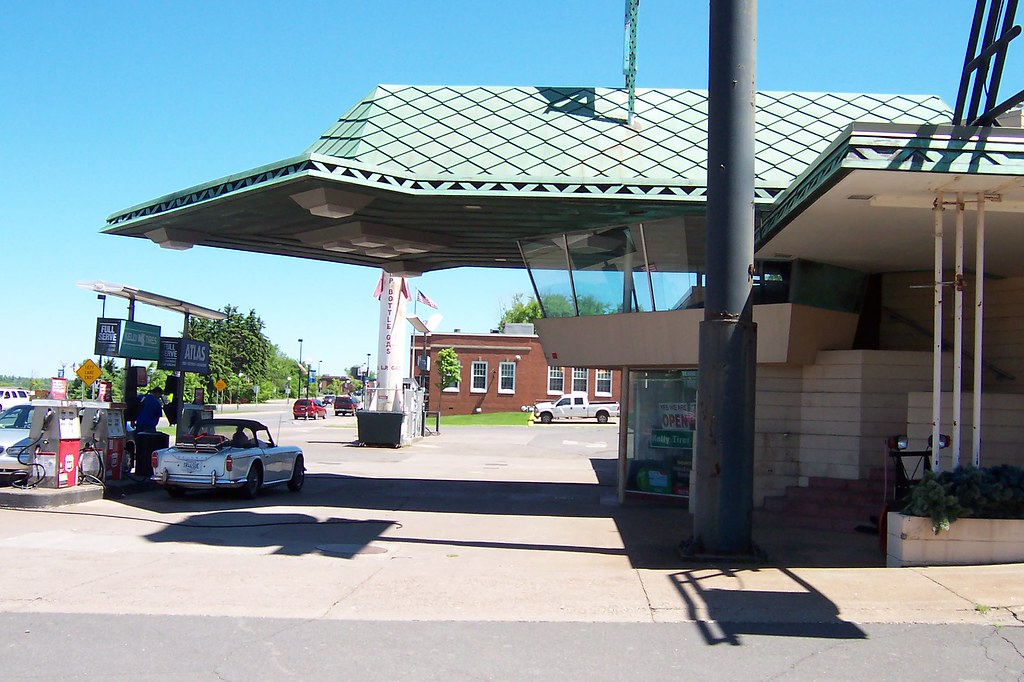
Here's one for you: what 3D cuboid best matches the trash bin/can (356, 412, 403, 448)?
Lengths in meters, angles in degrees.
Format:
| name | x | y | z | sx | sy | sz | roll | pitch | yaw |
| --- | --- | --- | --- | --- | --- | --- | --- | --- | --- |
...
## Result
| name | x | y | z | sx | sy | sz | roll | pitch | yaw |
| --- | --- | --- | --- | --- | --- | --- | --- | --- | --- |
| trash bin/can | -5.579 | 3.745 | 38.661 | 1.760 | 1.170 | 1.667 | 0 | -1 | 0 |

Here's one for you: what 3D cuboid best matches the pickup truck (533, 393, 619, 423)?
| name | x | y | z | sx | sy | sz | roll | pitch | yaw |
| --- | --- | --- | --- | --- | --- | --- | --- | --- | --- |
| pickup truck | 4.330 | 4.583 | 60.335 | 5.147 | 1.633 | 2.197 | 2 | -4 | 7 |

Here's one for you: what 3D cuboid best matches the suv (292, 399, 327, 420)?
| name | x | y | z | sx | sy | sz | roll | pitch | yaw |
| --- | --- | --- | --- | --- | --- | --- | --- | --- | --- |
| suv | -16.167 | 5.391 | 71.967 | 1.505 | 0.845 | 2.642 | 0 | 4 | 0 |
